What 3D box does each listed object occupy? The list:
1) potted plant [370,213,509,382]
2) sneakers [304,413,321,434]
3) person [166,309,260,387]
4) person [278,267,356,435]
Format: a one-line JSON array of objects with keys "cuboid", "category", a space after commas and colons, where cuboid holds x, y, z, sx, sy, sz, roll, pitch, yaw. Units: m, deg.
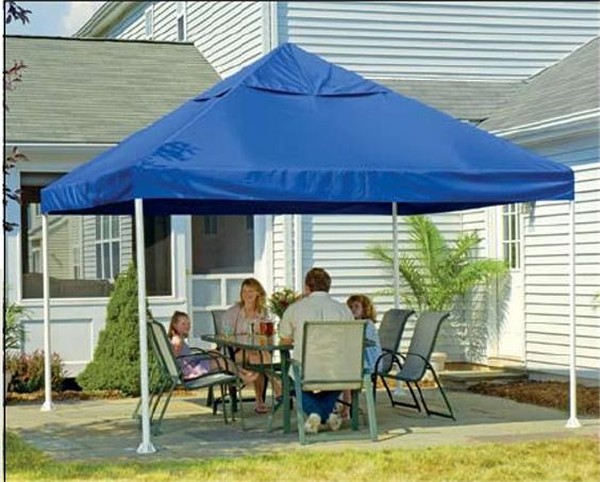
[{"cuboid": [1.680, 0.788, 18.552, 1.704, 2.245, 2.118, -1, 6, -13], "category": "potted plant"}, {"cuboid": [0.157, 2.195, 13.811, 0.165, 0.247, 0.092, 3, -7, 14], "category": "sneakers"}, {"cuboid": [-1.179, 1.393, 14.761, 1.189, 0.880, 0.708, 3, -1, -25], "category": "person"}, {"cuboid": [0.194, 1.379, 14.083, 0.831, 2.108, 0.959, 1, -9, -11], "category": "person"}]
